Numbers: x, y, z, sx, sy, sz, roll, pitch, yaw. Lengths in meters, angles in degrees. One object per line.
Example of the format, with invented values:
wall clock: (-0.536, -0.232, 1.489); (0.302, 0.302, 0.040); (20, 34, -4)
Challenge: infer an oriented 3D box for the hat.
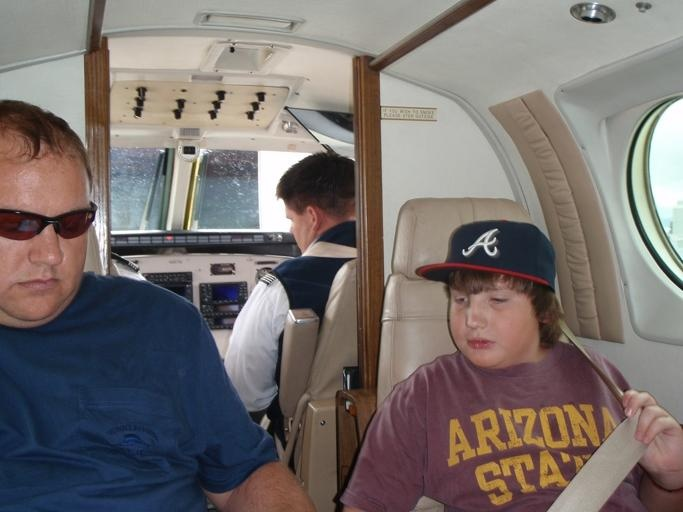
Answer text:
hat: (0.601, -0.027, 2.308); (0.608, 0.268, 0.429); (3, 7, -45)

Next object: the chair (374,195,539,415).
chair: (0.476, -0.058, 3.064); (0.556, 0.557, 0.859); (-22, 13, 1)
